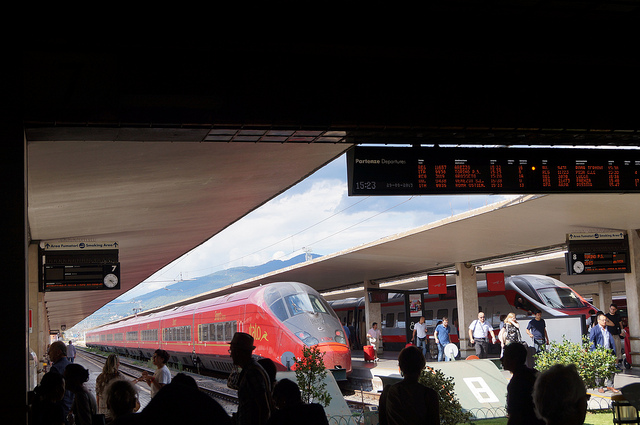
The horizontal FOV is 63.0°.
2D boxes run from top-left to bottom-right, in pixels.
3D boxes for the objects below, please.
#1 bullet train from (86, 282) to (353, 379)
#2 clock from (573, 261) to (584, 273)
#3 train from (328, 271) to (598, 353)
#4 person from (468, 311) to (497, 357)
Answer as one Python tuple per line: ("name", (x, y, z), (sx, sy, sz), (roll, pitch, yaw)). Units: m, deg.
("bullet train", (-10.130, 11.056, 41.849), (4.545, 3.058, 34.315), (-27, -11, -10))
("clock", (7.456, 1.585, 15.139), (0.335, 0.323, 0.087), (0, -9, -12))
("train", (6.523, 6.401, 30.072), (2.322, 3.444, 15.780), (20, -25, -37))
("person", (5.716, 4.306, 18.527), (0.789, 1.463, 1.807), (-4, -10, 15))
